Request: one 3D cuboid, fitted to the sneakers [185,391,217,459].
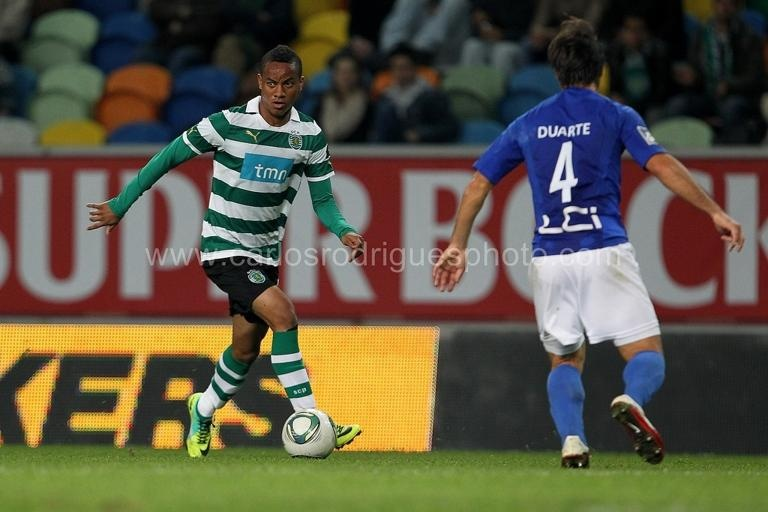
[{"bbox_3d":[-1.306,1.229,7.698,0.177,0.471,0.220,2,-7,-34],"label":"sneakers"}]

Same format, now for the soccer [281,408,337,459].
[{"bbox_3d":[-0.486,1.235,7.283,0.368,0.334,0.310,-2,-19,5],"label":"soccer"}]

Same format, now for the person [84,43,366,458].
[{"bbox_3d":[-0.942,0.016,7.358,1.563,2.900,0.648,3,14,-3],"label":"person"}]

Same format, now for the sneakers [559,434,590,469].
[{"bbox_3d":[1.241,1.297,6.893,0.150,0.169,0.234,-3,-17,8],"label":"sneakers"}]
